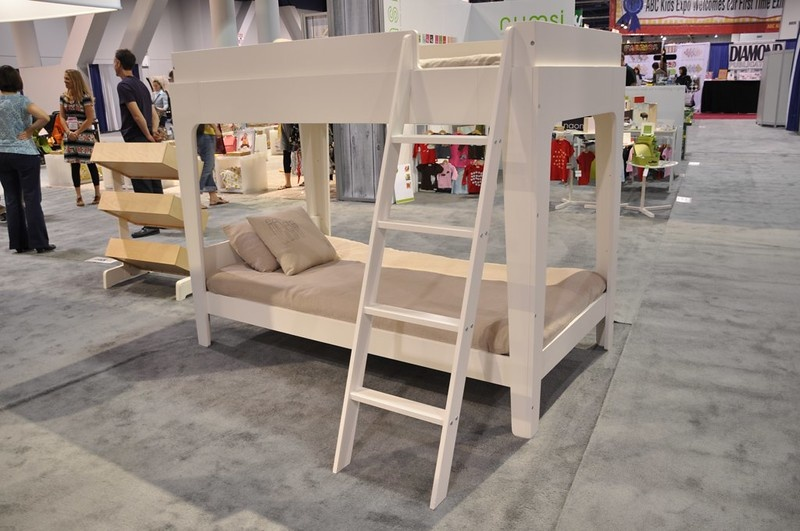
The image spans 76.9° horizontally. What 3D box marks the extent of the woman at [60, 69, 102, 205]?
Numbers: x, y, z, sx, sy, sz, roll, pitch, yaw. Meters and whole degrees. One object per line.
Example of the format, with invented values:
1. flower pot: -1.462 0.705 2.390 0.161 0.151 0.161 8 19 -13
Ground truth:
1. woman: -4.860 -1.877 7.692 0.510 2.014 1.598 -11 20 -31
